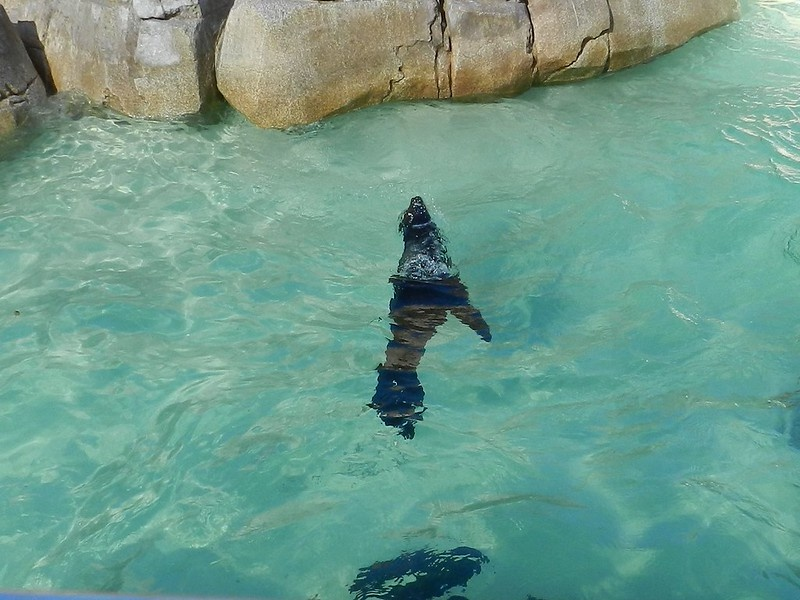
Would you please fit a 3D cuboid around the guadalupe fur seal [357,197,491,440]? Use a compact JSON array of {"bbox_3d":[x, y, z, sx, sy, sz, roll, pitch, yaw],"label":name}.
[{"bbox_3d":[0.165,0.146,6.444,1.038,0.505,1.515,-11,53,28],"label":"guadalupe fur seal"}]
